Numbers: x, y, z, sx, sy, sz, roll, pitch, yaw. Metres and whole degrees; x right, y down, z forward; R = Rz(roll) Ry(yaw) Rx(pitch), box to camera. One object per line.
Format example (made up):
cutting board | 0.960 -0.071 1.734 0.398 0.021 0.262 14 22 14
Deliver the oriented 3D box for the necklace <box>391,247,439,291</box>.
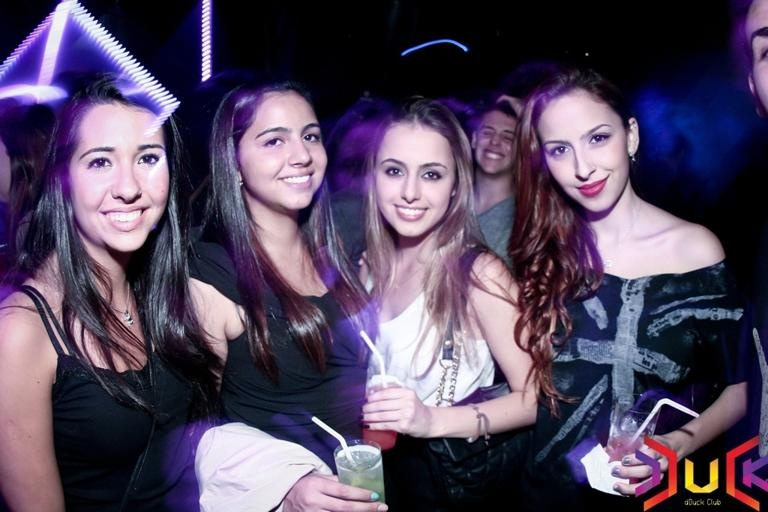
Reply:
necklace | 0.191 0.090 4.008 0.246 0.345 0.098 -3 -13 27

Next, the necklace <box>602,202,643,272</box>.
necklace | 1.496 -0.122 3.664 0.096 0.397 0.227 12 -21 -31

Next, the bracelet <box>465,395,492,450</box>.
bracelet | 0.605 1.001 3.622 0.063 0.249 0.207 -14 -21 26

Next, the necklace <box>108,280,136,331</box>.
necklace | -1.510 0.279 3.394 0.059 0.236 0.137 -11 7 32

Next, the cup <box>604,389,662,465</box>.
cup | 1.436 0.989 3.399 0.253 0.381 0.277 -4 -1 0
